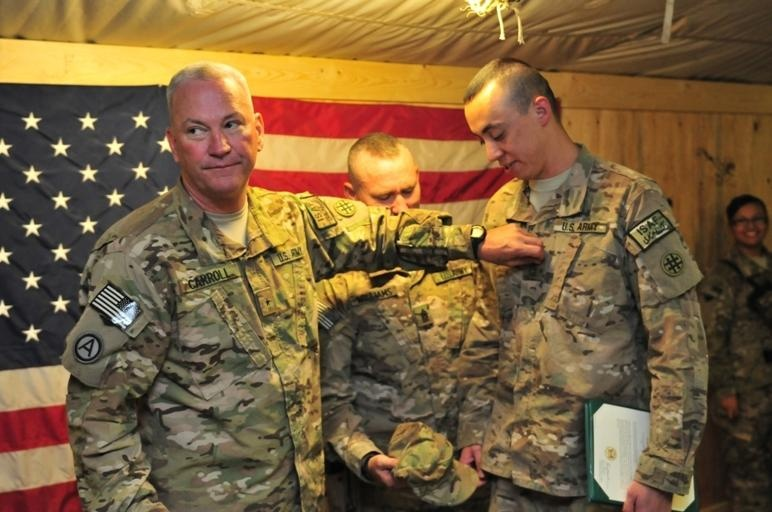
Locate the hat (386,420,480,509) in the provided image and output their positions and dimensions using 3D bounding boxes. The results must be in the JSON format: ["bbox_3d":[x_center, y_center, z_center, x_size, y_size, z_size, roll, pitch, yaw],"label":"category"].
[{"bbox_3d":[0.201,0.976,3.874,0.434,0.375,0.207,39,-14,9],"label":"hat"}]
